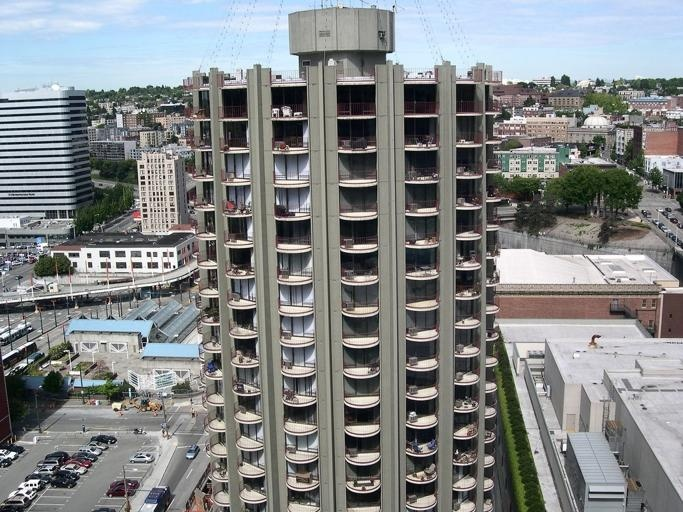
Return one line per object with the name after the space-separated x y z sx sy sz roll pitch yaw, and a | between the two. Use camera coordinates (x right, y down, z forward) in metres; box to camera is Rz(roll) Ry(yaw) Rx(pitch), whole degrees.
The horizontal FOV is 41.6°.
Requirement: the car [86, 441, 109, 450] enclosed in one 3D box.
-34.573 27.152 126.415 2.470 0.918 1.160 2 15 13 | car

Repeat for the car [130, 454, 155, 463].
-27.515 27.987 123.117 2.075 0.783 1.461 5 8 -2 | car

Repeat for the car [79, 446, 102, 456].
-35.250 27.313 125.139 2.764 1.018 1.324 0 19 14 | car

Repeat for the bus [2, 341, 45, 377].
-56.944 19.145 158.833 3.842 3.904 14.213 -3 7 7 | bus

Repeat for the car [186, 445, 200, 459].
-20.725 27.375 124.087 0.871 0.728 2.050 0 22 3 | car

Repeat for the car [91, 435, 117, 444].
-34.070 26.371 127.922 2.616 0.785 1.556 8 10 0 | car

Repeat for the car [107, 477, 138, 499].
-28.660 30.419 116.406 2.770 0.908 2.047 5 14 -7 | car
